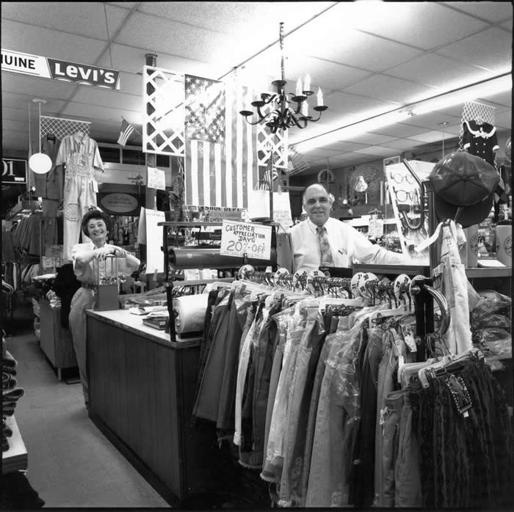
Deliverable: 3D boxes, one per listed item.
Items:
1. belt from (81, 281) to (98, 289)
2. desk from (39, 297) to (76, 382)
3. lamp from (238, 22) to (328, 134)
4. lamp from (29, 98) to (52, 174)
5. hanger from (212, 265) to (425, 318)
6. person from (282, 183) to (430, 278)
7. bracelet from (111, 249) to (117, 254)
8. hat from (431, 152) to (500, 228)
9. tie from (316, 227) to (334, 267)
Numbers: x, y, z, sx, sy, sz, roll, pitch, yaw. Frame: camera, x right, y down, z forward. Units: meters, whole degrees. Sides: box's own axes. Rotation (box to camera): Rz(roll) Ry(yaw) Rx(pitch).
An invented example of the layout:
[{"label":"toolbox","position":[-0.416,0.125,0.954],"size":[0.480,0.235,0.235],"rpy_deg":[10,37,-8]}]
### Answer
[{"label":"belt","position":[-1.582,0.276,4.523],"size":[0.142,0.069,0.121],"rpy_deg":[2,-4,8]},{"label":"desk","position":[-2.121,0.890,5.145],"size":[0.347,0.688,0.717],"rpy_deg":[-1,6,-30]},{"label":"lamp","position":[0.240,-1.948,5.150],"size":[0.809,1.305,0.883],"rpy_deg":[3,8,24]},{"label":"lamp","position":[-3.190,-1.673,7.008],"size":[0.267,1.084,1.750],"rpy_deg":[-5,5,-24]},{"label":"hanger","position":[0.281,0.128,2.344],"size":[1.141,0.152,0.424],"rpy_deg":[-1,7,43]},{"label":"person","position":[0.857,-0.244,4.242],"size":[1.182,0.841,0.321],"rpy_deg":[-7,4,-18]},{"label":"bracelet","position":[-1.270,-0.035,4.277],"size":[0.033,0.052,0.020],"rpy_deg":[-6,5,-19]},{"label":"hat","position":[0.810,-0.260,1.900],"size":[0.258,0.290,0.159],"rpy_deg":[-5,4,-5]},{"label":"tie","position":[0.549,-0.082,3.869],"size":[0.127,0.320,0.114],"rpy_deg":[-7,5,-36]}]
